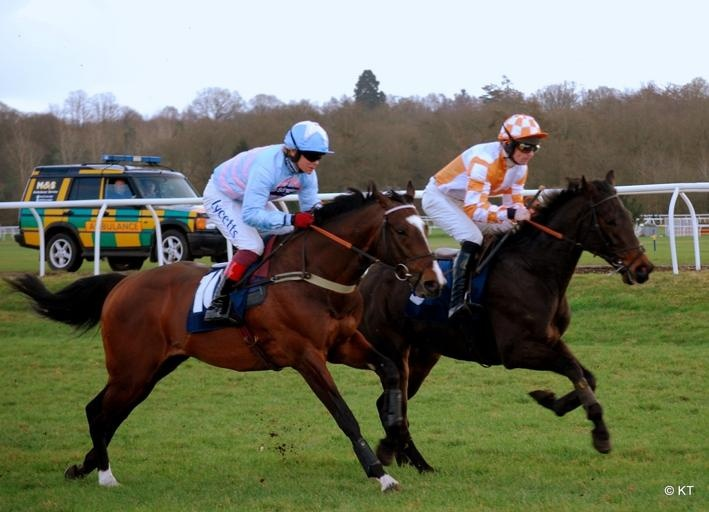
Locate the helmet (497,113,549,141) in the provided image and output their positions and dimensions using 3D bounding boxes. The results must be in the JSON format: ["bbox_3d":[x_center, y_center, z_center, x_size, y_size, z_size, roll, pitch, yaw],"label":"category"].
[{"bbox_3d":[1.222,-0.945,6.426,0.278,0.130,0.213,3,13,24],"label":"helmet"}]

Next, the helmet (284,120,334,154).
[{"bbox_3d":[-0.299,-0.842,6.150,0.316,0.197,0.414,0,13,-37],"label":"helmet"}]

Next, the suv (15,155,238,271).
[{"bbox_3d":[-3.326,-0.690,13.331,3.494,1.535,1.843,-2,-3,23],"label":"suv"}]

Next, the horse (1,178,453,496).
[{"bbox_3d":[-0.584,0.499,6.023,2.408,1.921,0.847,0,15,9],"label":"horse"}]

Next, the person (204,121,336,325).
[{"bbox_3d":[-0.655,-0.301,6.331,1.036,1.364,0.884,14,17,21],"label":"person"}]

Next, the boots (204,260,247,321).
[{"bbox_3d":[-0.909,0.282,6.069,0.172,0.527,0.235,7,-12,18],"label":"boots"}]

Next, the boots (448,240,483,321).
[{"bbox_3d":[0.793,0.141,6.379,0.151,0.447,0.332,12,-24,-12],"label":"boots"}]
